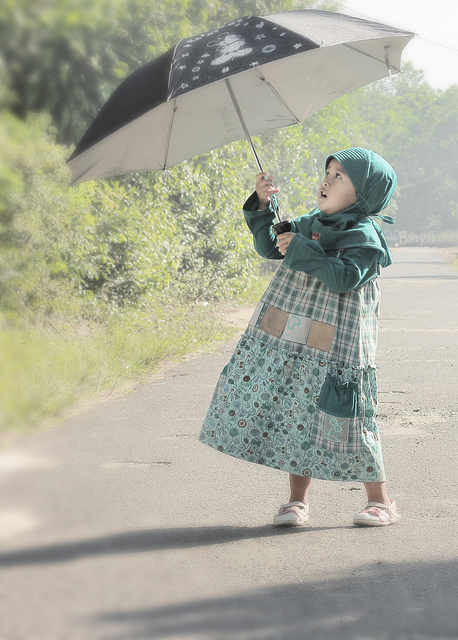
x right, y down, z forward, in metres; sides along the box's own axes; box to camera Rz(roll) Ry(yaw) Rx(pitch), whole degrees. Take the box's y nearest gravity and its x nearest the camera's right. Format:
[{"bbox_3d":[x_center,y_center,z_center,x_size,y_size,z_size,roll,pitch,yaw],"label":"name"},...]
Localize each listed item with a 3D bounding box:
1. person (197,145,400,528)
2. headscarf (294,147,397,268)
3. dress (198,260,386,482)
[{"bbox_3d":[0.396,0.013,3.242,0.908,1.743,1.221,-1,0,13],"label":"person"},{"bbox_3d":[0.537,-0.520,2.910,0.470,0.545,0.435,-1,0,5],"label":"headscarf"},{"bbox_3d":[0.357,0.241,3.011,0.798,0.999,0.822,9,20,30],"label":"dress"}]
